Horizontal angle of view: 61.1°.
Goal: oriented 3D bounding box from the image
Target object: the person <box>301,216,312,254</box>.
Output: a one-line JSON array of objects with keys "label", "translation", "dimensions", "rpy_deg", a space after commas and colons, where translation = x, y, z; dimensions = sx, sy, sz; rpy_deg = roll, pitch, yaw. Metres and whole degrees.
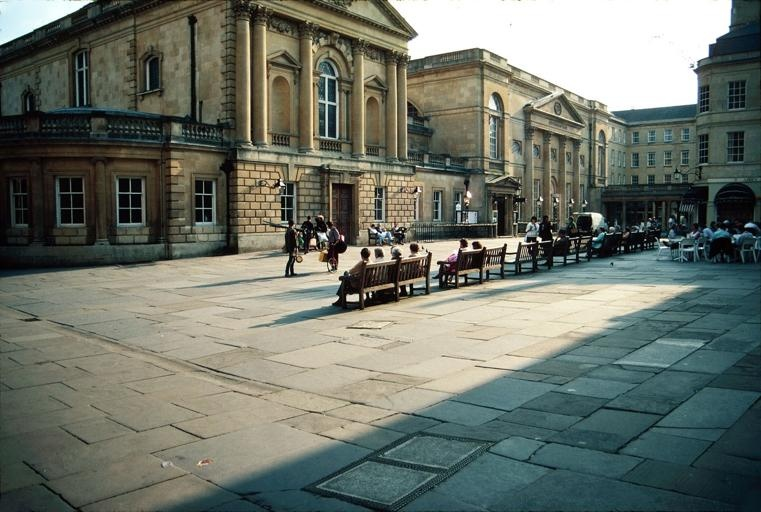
[{"label": "person", "translation": [-3.470, -1.098, 31.352], "dimensions": [0.580, 1.540, 1.949], "rpy_deg": [-4, 11, -6]}]

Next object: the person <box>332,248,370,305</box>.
[{"label": "person", "translation": [-0.727, 0.445, 16.503], "dimensions": [0.933, 1.431, 1.279], "rpy_deg": [-3, 11, -5]}]

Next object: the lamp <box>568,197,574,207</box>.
[{"label": "lamp", "translation": [20.669, -5.800, 70.006], "dimensions": [0.521, 1.038, 2.931], "rpy_deg": [2, 11, 19]}]

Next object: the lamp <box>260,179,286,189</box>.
[{"label": "lamp", "translation": [-5.325, -3.661, 32.337], "dimensions": [0.324, 0.516, 1.773], "rpy_deg": [6, 13, 36]}]

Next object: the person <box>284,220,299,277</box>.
[{"label": "person", "translation": [-3.154, -0.351, 22.711], "dimensions": [0.487, 1.832, 1.430], "rpy_deg": [-4, 11, -9]}]

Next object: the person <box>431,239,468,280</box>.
[{"label": "person", "translation": [2.179, -0.013, 19.549], "dimensions": [0.837, 1.208, 1.178], "rpy_deg": [0, 11, 13]}]

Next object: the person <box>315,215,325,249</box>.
[{"label": "person", "translation": [-2.872, -1.277, 31.681], "dimensions": [0.596, 1.692, 1.355], "rpy_deg": [-3, 11, -5]}]

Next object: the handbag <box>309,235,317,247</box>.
[{"label": "handbag", "translation": [-3.296, -0.811, 31.927], "dimensions": [0.405, 0.402, 0.184], "rpy_deg": [3, 1, 17]}]

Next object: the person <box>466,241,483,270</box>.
[{"label": "person", "translation": [3.021, -0.147, 19.888], "dimensions": [0.342, 0.810, 0.691], "rpy_deg": [-1, 11, 8]}]

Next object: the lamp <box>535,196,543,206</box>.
[{"label": "lamp", "translation": [15.330, -5.468, 62.356], "dimensions": [0.667, 0.837, 0.833], "rpy_deg": [1, -3, -23]}]
